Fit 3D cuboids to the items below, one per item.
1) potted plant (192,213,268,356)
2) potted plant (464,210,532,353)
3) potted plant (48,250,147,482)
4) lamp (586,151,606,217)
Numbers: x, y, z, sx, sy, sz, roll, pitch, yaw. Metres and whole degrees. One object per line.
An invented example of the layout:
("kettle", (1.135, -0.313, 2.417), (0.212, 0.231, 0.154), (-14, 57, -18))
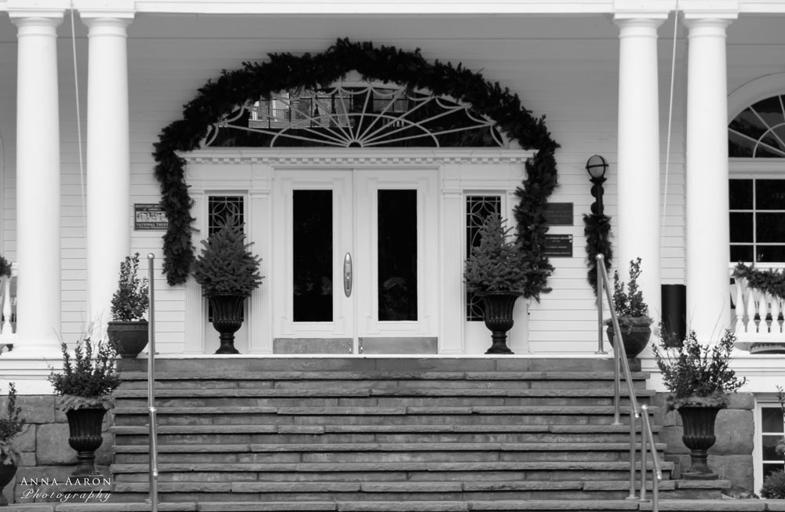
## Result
("potted plant", (-2.331, 0.354, 36.544), (0.934, 1.991, 0.685), (0, -2, -39))
("potted plant", (1.555, 0.365, 36.673), (1.183, 1.880, 1.053), (2, -6, -32))
("potted plant", (-3.862, 1.433, 33.639), (1.105, 2.909, 1.628), (-1, -1, 7))
("lamp", (3.047, -1.069, 36.827), (0.343, 0.853, 0.217), (-1, -1, -2))
